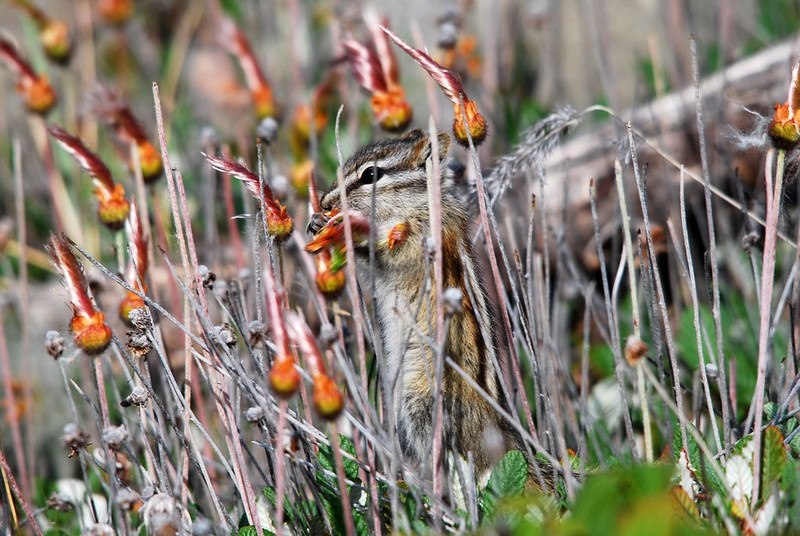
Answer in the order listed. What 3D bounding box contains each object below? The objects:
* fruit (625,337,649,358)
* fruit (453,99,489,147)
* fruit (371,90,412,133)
[{"bbox_3d":[1.060,0.357,4.491,0.069,0.101,0.097,10,0,24],"label":"fruit"},{"bbox_3d":[0.343,-0.700,4.855,0.161,0.238,0.209,-13,10,-6],"label":"fruit"},{"bbox_3d":[-0.042,-0.893,5.652,0.165,0.280,0.237,-19,12,11],"label":"fruit"}]
